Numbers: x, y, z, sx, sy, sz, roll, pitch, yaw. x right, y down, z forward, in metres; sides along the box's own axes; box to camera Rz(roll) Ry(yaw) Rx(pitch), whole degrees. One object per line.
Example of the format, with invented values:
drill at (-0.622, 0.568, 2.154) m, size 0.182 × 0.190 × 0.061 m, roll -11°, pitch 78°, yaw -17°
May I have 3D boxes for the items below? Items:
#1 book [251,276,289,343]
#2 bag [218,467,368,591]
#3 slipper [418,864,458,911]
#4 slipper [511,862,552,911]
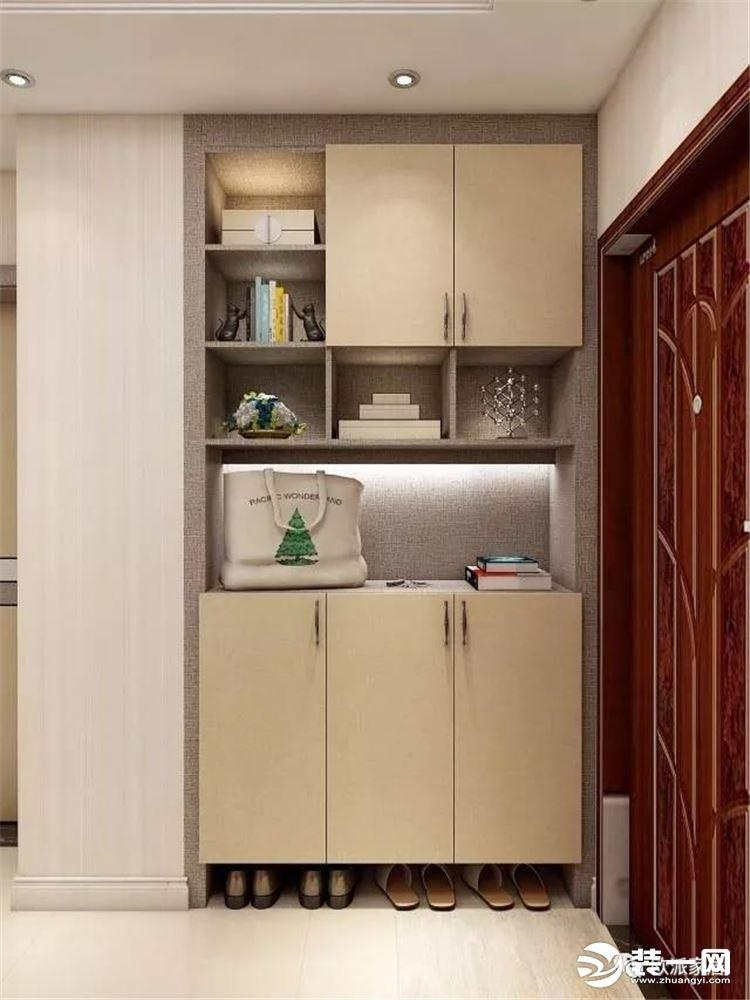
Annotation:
book at (-0.315, -0.565, 2.939) m, size 0.113 × 0.229 × 0.221 m, roll 1°, pitch 3°, yaw 2°
bag at (-0.248, 0.091, 2.900) m, size 0.310 × 0.306 × 0.131 m, roll 0°, pitch -3°, yaw -4°
slipper at (0.186, 1.147, 2.910) m, size 0.093 × 0.072 × 0.282 m, roll 0°, pitch 1°, yaw 0°
slipper at (0.462, 1.146, 2.919) m, size 0.107 × 0.074 × 0.291 m, roll -1°, pitch 4°, yaw 2°
